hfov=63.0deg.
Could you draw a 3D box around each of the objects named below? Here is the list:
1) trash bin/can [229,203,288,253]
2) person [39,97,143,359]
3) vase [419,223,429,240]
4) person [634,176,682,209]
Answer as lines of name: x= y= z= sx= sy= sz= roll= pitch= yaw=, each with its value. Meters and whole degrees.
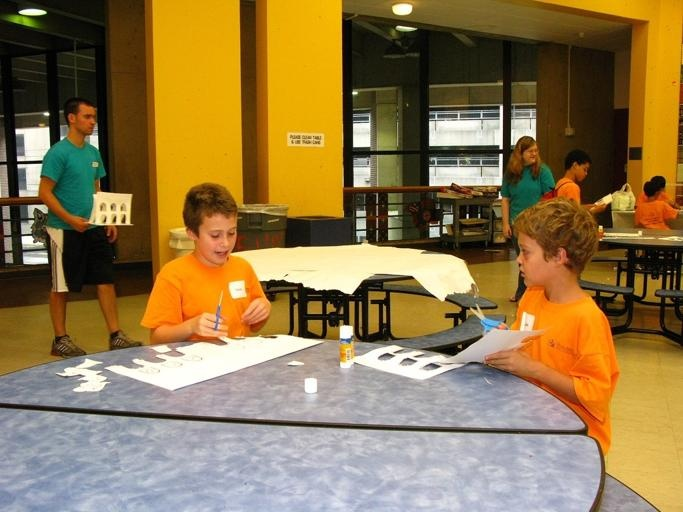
trash bin/can: x=-0.835 y=-0.262 z=5.850 sx=0.595 sy=0.562 sz=0.629 roll=1 pitch=9 yaw=11
person: x=-1.995 y=-0.227 z=4.219 sx=0.582 sy=1.931 sz=0.703 roll=-6 pitch=12 yaw=-27
vase: x=1.669 y=-0.499 z=11.029 sx=0.207 sy=0.252 sz=0.245 roll=-1 pitch=3 yaw=5
person: x=4.414 y=-0.879 z=7.679 sx=0.768 sy=0.448 sz=0.356 roll=-3 pitch=7 yaw=12
